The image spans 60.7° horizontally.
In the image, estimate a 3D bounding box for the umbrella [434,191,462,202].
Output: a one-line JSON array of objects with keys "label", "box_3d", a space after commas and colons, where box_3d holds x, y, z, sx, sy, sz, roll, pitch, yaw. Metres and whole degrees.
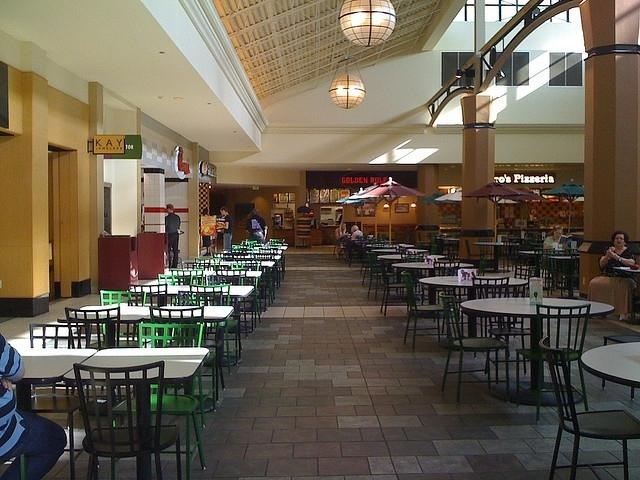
[{"label": "umbrella", "box_3d": [4.329, -1.475, 18.083, 0.679, 0.337, 1.314, -4, 1, -8]}]

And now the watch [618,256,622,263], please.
[{"label": "watch", "box_3d": [4.461, 0.276, 8.111, 0.027, 0.064, 0.047, -36, 33, -24]}]

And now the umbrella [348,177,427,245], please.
[{"label": "umbrella", "box_3d": [2.774, -1.205, 21.866, 3.014, 2.400, 2.854, 0, -3, 5]}]
